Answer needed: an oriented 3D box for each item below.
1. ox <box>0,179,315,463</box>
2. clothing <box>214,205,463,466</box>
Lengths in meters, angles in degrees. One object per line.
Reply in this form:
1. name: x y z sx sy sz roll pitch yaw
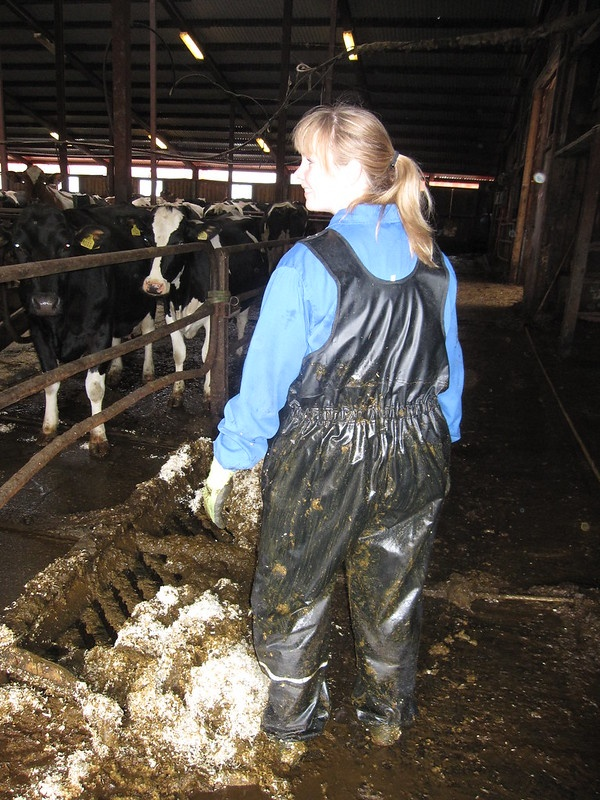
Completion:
1. ox: -0.655 -0.800 4.751 0.964 1.459 3.064 3 11 20
2. clothing: 0.111 -0.119 1.401 0.560 0.558 0.167 -6 22 -29
